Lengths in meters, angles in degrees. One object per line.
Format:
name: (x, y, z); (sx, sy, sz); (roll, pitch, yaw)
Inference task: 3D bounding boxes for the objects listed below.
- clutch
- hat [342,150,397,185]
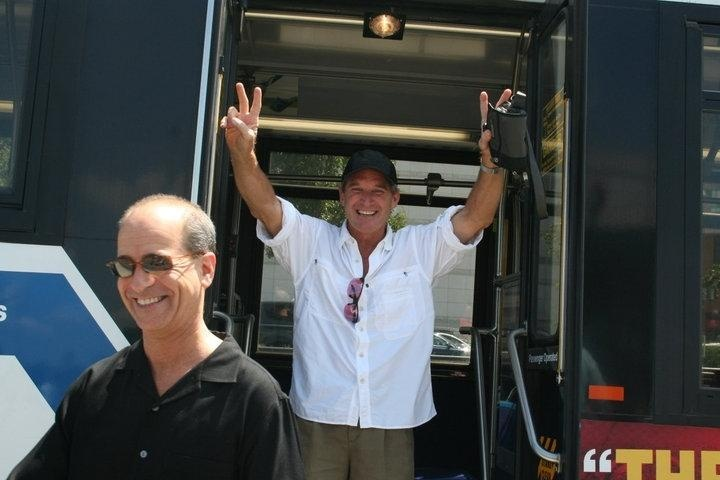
clutch: (0.796, -0.583, 4.740); (0.125, 0.385, 0.305); (1, 3, 14)
hat: (0.059, -0.407, 5.273); (0.314, 0.226, 0.298); (3, -6, 1)
